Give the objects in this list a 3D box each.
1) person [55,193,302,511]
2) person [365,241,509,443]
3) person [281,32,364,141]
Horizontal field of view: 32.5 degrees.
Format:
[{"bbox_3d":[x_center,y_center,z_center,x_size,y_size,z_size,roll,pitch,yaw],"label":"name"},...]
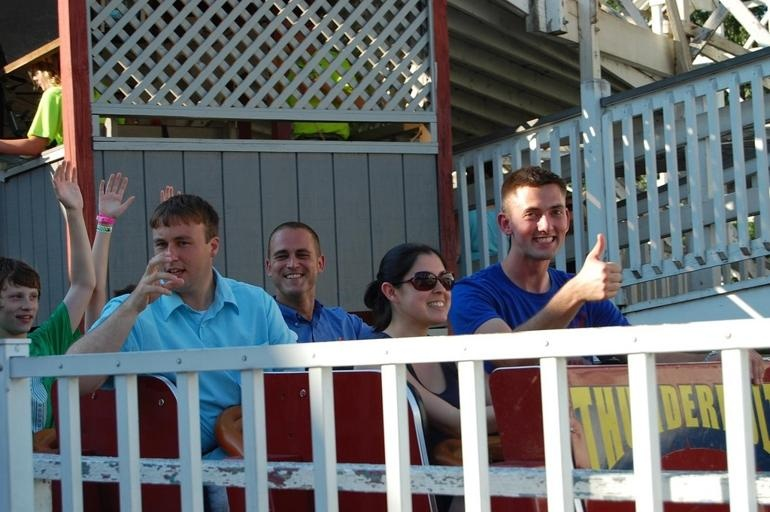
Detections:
[{"bbox_3d":[-1.192,0.548,7.940,0.672,1.911,1.363,-10,-12,43],"label":"person"},{"bbox_3d":[0.257,0.505,8.126,0.631,1.228,0.823,0,-9,-14],"label":"person"},{"bbox_3d":[-0.533,-1.375,10.862,0.535,0.801,0.726,-2,-9,-2],"label":"person"}]
